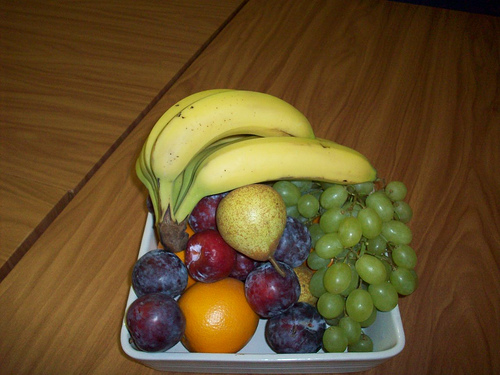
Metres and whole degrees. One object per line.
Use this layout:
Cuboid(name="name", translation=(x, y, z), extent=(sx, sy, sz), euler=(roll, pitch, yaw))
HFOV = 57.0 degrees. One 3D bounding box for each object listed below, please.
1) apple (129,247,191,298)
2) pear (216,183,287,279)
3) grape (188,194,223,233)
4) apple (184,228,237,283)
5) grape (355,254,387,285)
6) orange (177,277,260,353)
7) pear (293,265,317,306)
Cuboid(name="apple", translation=(-0.226, 0.232, 1.140), extent=(0.146, 0.126, 0.120), euler=(10, 32, -30))
Cuboid(name="pear", translation=(0.017, 0.098, 1.151), extent=(0.147, 0.103, 0.214), euler=(-31, 82, 0))
Cuboid(name="grape", translation=(-0.108, 0.065, 1.210), extent=(0.079, 0.097, 0.077), euler=(20, 33, 32))
Cuboid(name="apple", translation=(-0.108, 0.191, 1.164), extent=(0.132, 0.154, 0.151), euler=(-7, 77, 7))
Cuboid(name="grape", translation=(0.296, 0.200, 1.118), extent=(0.073, 0.058, 0.057), euler=(41, 60, 11))
Cuboid(name="orange", translation=(-0.075, 0.306, 1.101), extent=(0.159, 0.172, 0.138), euler=(7, 47, -10))
Cuboid(name="pear", translation=(0.142, 0.248, 1.188), extent=(0.064, 0.046, 0.089), euler=(-18, 88, -7))
